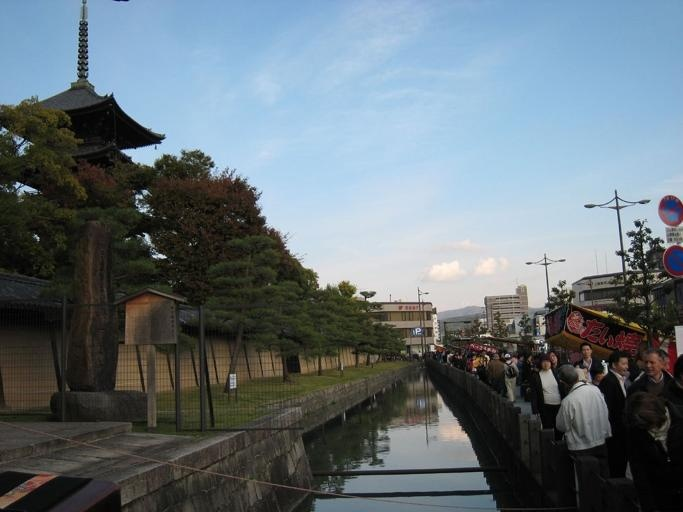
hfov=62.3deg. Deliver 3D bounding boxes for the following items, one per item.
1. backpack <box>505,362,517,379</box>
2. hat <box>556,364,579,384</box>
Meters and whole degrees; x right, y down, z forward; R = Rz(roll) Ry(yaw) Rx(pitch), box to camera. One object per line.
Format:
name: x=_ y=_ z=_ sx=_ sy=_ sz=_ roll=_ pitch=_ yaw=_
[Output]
backpack: x=6.216 y=4.218 z=20.809 sx=0.398 sy=0.584 sz=0.573 roll=2 pitch=-4 yaw=11
hat: x=3.511 y=1.829 z=8.771 sx=0.203 sy=0.223 sz=0.285 roll=-23 pitch=-10 yaw=-7
